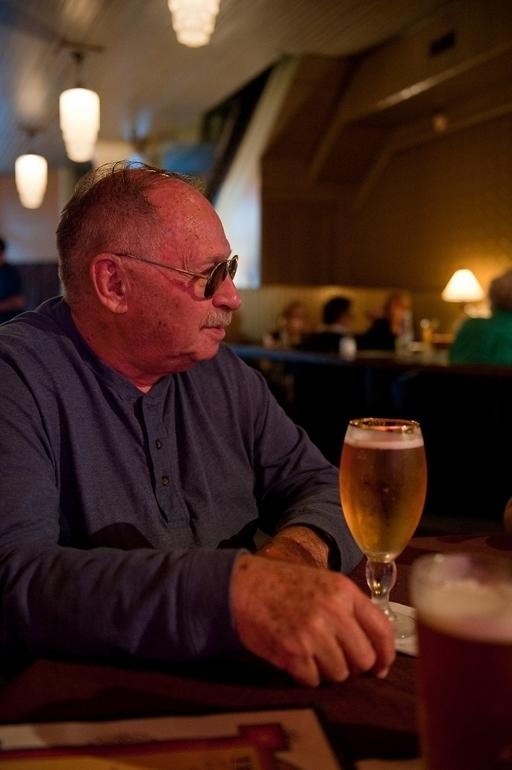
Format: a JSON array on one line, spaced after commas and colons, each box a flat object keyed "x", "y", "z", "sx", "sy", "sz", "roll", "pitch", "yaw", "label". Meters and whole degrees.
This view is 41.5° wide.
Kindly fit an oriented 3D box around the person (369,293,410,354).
[{"x": 1.298, "y": -0.587, "z": 6.567, "sx": 0.340, "sy": 0.259, "sz": 1.107, "roll": 4, "pitch": 14, "yaw": 7, "label": "person"}]

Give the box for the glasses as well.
[{"x": -0.140, "y": -0.215, "z": 1.261, "sx": 0.136, "sy": 0.038, "sz": 0.125, "roll": 16, "pitch": 12, "yaw": 5, "label": "glasses"}]
